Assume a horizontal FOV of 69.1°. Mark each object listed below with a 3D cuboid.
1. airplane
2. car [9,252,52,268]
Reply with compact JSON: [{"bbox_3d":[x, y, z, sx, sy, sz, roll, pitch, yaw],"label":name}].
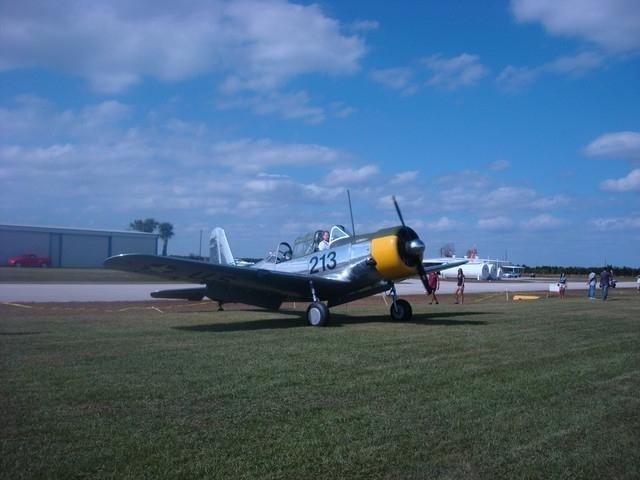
[{"bbox_3d":[-1.290,0.789,11.751,6.919,2.184,5.685,0,-1,-15],"label":"airplane"},{"bbox_3d":[-30.797,2.245,49.332,3.288,1.034,1.543,8,-9,-42],"label":"car"}]
